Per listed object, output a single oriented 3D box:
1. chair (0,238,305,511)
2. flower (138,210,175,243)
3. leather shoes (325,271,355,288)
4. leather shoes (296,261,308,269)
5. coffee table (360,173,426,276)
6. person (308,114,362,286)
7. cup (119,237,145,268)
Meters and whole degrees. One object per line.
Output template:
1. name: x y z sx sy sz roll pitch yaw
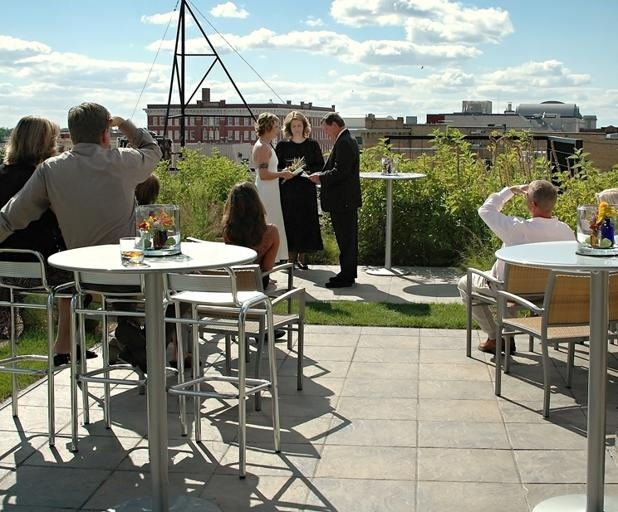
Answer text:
1. chair: -0.622 0.530 3.079 1.119 1.367 1.097 0 3 -1
2. flower: -0.662 -0.134 2.788 0.134 0.153 0.141 3 4 14
3. leather shoes: 0.383 0.284 7.671 0.296 0.140 0.180 1 4 -7
4. leather shoes: -0.087 0.128 8.760 0.103 0.125 0.288 -1 -2 -1
5. coffee table: 1.110 -0.456 8.511 0.775 1.365 1.340 0 9 5
6. person: 0.363 -0.654 7.520 0.546 2.066 0.494 0 9 3
7. cup: -0.759 -0.016 2.711 0.114 0.132 0.114 1 4 0
